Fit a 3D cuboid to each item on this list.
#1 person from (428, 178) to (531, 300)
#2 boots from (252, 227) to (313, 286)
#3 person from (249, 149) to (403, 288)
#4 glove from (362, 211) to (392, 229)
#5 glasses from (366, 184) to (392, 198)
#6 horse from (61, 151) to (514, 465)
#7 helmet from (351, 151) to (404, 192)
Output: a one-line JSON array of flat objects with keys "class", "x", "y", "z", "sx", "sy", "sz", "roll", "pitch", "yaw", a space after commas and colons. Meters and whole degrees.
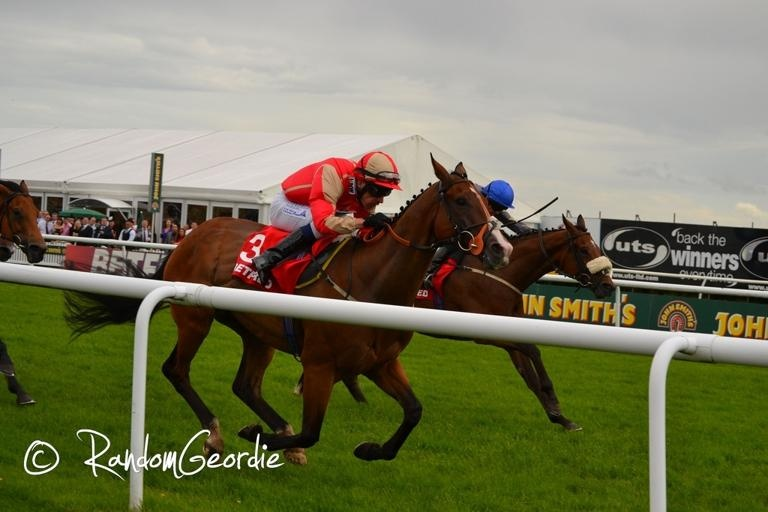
[{"class": "person", "x": 0.586, "y": -0.187, "z": 5.824, "sx": 0.283, "sy": 0.677, "sz": 1.175, "roll": 12, "pitch": 5, "yaw": -21}, {"class": "boots", "x": -0.463, "y": 0.016, "z": 3.802, "sx": 0.297, "sy": 0.084, "sz": 0.117, "roll": -34, "pitch": 41, "yaw": -13}, {"class": "person", "x": -0.278, "y": -0.194, "z": 4.051, "sx": 0.733, "sy": 0.723, "sz": 0.431, "roll": 22, "pitch": 18, "yaw": 35}, {"class": "glove", "x": -0.038, "y": -0.165, "z": 3.860, "sx": 0.100, "sy": 0.053, "sz": 0.134, "roll": -1, "pitch": 0, "yaw": 7}, {"class": "glasses", "x": -0.021, "y": -0.309, "z": 3.920, "sx": 0.066, "sy": 0.029, "sz": 0.084, "roll": 3, "pitch": -4, "yaw": -31}, {"class": "horse", "x": -0.483, "y": 0.267, "z": 3.486, "sx": 2.218, "sy": 1.310, "sz": 0.507, "roll": 4, "pitch": 2, "yaw": 35}, {"class": "helmet", "x": -0.017, "y": -0.428, "z": 3.974, "sx": 0.278, "sy": 0.151, "sz": 0.204, "roll": 22, "pitch": 13, "yaw": 29}]
